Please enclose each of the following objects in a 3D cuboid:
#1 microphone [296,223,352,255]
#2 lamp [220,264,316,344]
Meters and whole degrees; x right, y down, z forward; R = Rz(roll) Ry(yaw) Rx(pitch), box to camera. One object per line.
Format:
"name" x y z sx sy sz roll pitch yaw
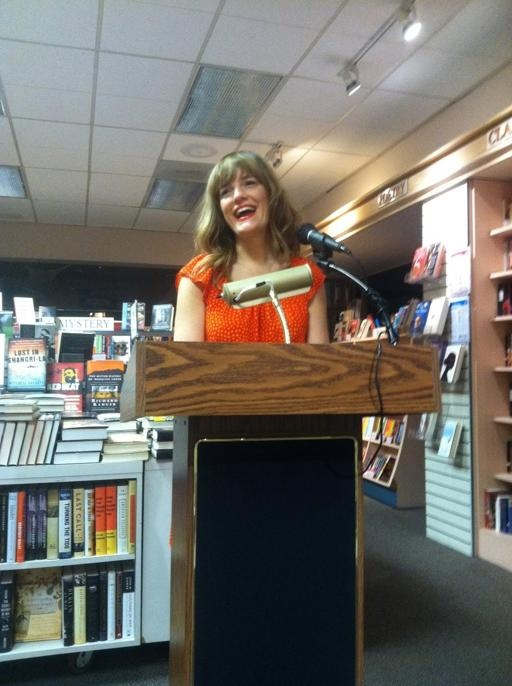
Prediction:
"microphone" 0.124 -0.195 0.991 0.123 0.048 0.049 35 -12 50
"lamp" 0.014 -0.064 0.919 0.128 0.127 0.044 -17 40 -22
